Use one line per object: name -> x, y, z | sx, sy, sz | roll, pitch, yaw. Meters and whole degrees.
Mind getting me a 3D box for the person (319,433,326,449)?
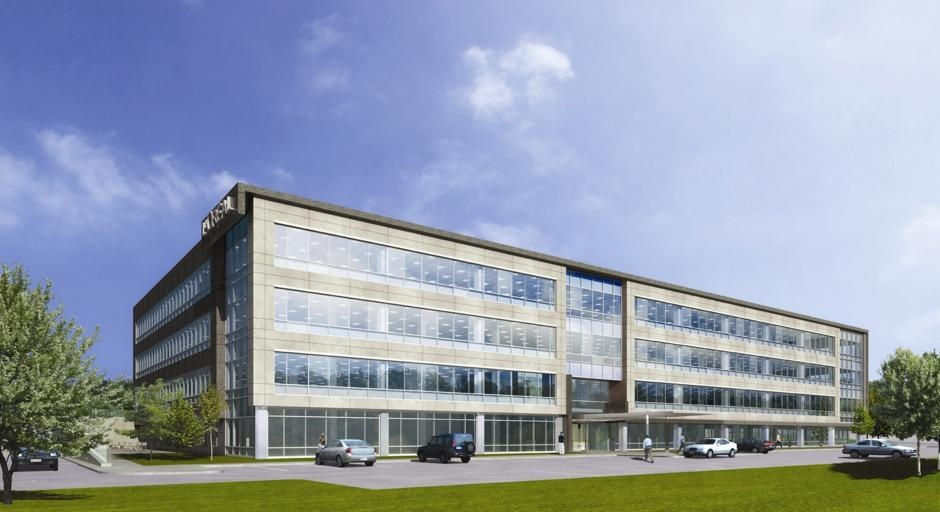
person -> -15.047, 18.611, 82.196 | 0.833, 1.270, 1.819 | 1, -4, -10
